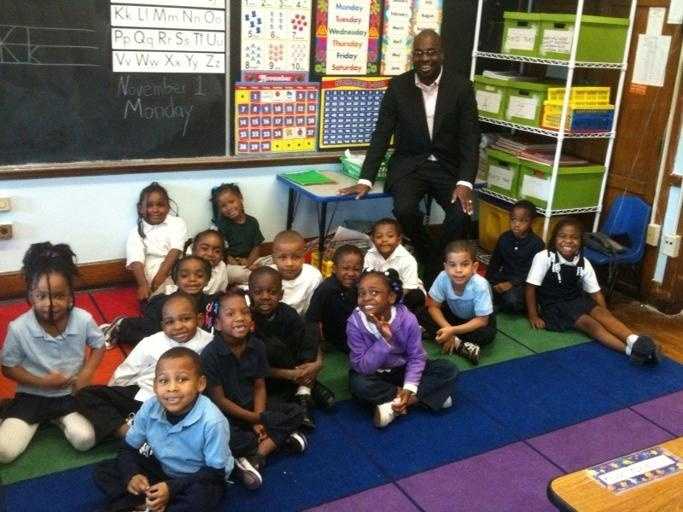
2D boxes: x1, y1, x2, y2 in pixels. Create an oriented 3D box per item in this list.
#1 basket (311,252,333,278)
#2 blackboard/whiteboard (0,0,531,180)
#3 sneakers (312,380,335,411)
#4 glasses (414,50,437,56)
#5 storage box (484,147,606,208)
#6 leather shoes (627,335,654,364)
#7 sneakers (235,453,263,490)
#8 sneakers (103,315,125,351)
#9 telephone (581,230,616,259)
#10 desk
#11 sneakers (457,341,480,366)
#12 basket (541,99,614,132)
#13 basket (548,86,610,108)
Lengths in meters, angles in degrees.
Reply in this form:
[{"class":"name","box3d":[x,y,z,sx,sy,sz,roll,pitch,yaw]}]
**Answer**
[{"class":"basket","box3d":[-0.130,0.063,3.564,0.084,0.107,0.145,-9,25,-23]},{"class":"blackboard/whiteboard","box3d":[-0.497,-1.220,3.700,3.619,1.187,0.214,-10,24,-20]},{"class":"sneakers","box3d":[-0.091,0.691,2.563,0.062,0.072,0.169,-15,26,-25]},{"class":"glasses","box3d":[0.575,-1.374,3.456,0.162,0.059,0.050,2,22,8]},{"class":"storage box","box3d":[1.643,-0.600,3.995,0.488,0.397,0.836,-10,25,-30]},{"class":"leather shoes","box3d":[1.746,0.543,2.954,0.113,0.176,0.064,4,14,29]},{"class":"sneakers","box3d":[-0.362,0.859,2.045,0.104,0.102,0.133,-12,24,-23]},{"class":"sneakers","box3d":[-1.311,0.448,2.942,0.073,0.154,0.070,27,-20,-24]},{"class":"telephone","box3d":[1.821,-0.091,3.604,0.190,0.077,0.186,-4,33,-31]},{"class":"desk","box3d":[0.153,-0.480,3.944,1.184,1.064,0.870,-11,30,-24]},{"class":"sneakers","box3d":[0.737,0.555,2.949,0.071,0.074,0.154,13,15,-38]},{"class":"basket","box3d":[1.697,-0.994,3.693,0.400,0.174,0.278,-14,23,-40]},{"class":"basket","box3d":[1.726,-1.158,3.698,0.446,0.136,0.201,-9,23,-18]}]
